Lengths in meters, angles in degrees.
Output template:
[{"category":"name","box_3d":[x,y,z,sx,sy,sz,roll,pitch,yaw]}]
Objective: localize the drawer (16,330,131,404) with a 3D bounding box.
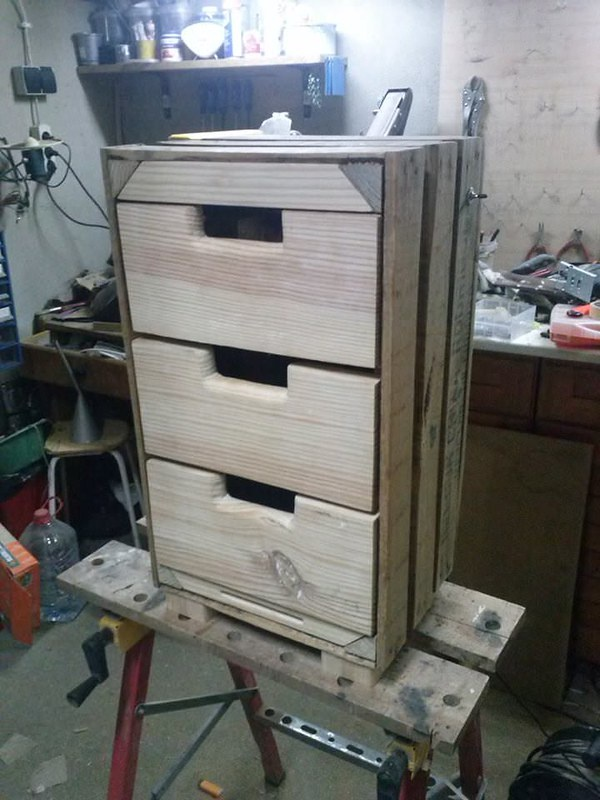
[{"category":"drawer","box_3d":[-0.906,-0.165,2.854,0.528,0.167,0.306,10,23,8]}]

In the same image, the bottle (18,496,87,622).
[{"category":"bottle","box_3d":[-1.036,0.694,2.703,0.226,0.429,0.230,-10,0,0]}]

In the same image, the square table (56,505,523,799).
[{"category":"square table","box_3d":[0.000,0.529,1.250,0.685,0.679,0.420,17,35,26]}]
